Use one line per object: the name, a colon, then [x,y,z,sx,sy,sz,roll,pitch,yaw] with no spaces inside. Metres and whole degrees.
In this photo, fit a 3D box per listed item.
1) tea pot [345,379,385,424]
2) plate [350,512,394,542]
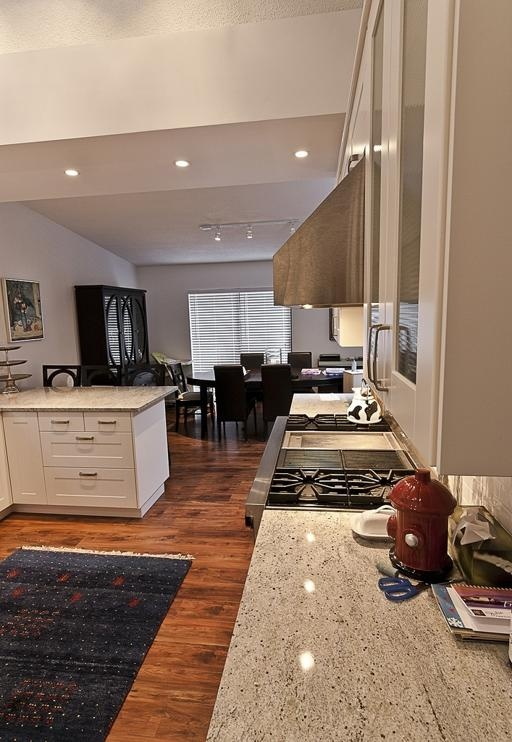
tea pot: [0.478,0.129,2.236,0.200,0.260,0.279,0,-2,1]
plate: [0.287,0.387,1.237,0.073,0.033,0.065,0,2,15]
